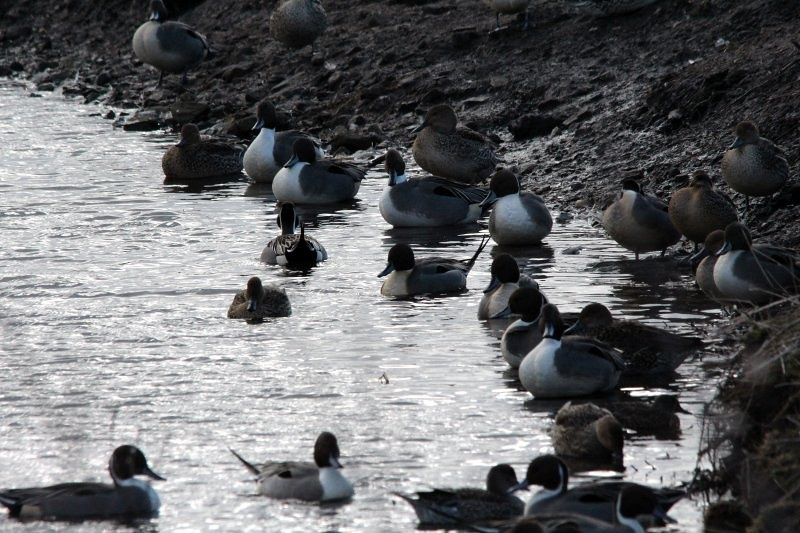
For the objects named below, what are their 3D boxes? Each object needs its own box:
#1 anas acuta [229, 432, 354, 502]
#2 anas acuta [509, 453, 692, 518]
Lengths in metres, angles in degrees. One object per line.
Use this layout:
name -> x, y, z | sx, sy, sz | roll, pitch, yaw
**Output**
anas acuta -> -0.883, 1.879, 11.705 | 0.910, 0.632, 0.192 | 4, 8, 10
anas acuta -> 1.753, 1.968, 11.321 | 1.327, 0.711, 0.592 | -1, -10, 17
